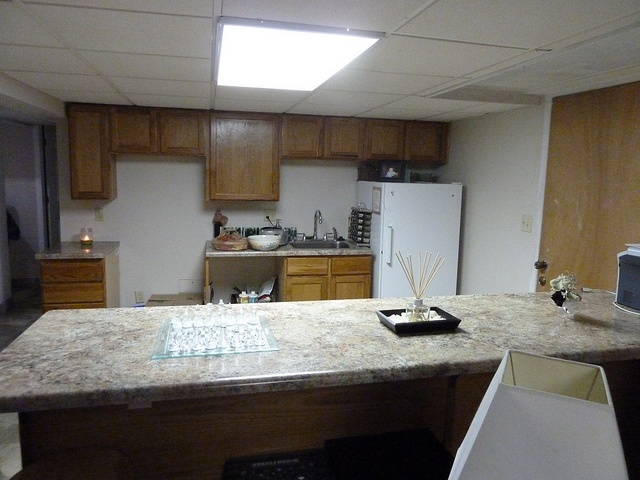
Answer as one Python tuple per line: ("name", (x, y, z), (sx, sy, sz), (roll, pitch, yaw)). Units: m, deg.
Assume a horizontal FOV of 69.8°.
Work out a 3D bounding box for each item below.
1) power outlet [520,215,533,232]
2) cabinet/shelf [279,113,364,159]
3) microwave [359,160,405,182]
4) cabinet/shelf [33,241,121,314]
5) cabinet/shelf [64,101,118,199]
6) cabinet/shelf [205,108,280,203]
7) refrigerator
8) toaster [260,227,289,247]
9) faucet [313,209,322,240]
("power outlet", (1.665, -0.134, 3.680), (0.017, 0.151, 0.130), (5, 3, -18))
("cabinet/shelf", (0.011, -1.004, 4.506), (0.831, 0.414, 0.268), (-2, 15, -13))
("microwave", (0.625, -0.696, 4.688), (0.221, 0.234, 0.526), (-5, 6, -32))
("cabinet/shelf", (-2.186, 0.380, 4.113), (0.572, 0.745, 0.665), (3, 17, -14))
("cabinet/shelf", (-2.003, -0.759, 3.991), (0.329, 0.795, 0.179), (-4, 7, -27))
("cabinet/shelf", (-0.740, -0.808, 4.234), (0.789, 0.911, 0.467), (0, 4, -17))
("refrigerator", (0.867, -0.001, 4.338), (0.900, 1.105, 0.404), (0, 6, 14))
("toaster", (-0.430, -0.036, 4.380), (0.202, 0.124, 0.201), (1, 6, -2))
("faucet", (-0.022, -0.155, 4.748), (0.103, 0.305, 0.194), (-1, 6, 0))
